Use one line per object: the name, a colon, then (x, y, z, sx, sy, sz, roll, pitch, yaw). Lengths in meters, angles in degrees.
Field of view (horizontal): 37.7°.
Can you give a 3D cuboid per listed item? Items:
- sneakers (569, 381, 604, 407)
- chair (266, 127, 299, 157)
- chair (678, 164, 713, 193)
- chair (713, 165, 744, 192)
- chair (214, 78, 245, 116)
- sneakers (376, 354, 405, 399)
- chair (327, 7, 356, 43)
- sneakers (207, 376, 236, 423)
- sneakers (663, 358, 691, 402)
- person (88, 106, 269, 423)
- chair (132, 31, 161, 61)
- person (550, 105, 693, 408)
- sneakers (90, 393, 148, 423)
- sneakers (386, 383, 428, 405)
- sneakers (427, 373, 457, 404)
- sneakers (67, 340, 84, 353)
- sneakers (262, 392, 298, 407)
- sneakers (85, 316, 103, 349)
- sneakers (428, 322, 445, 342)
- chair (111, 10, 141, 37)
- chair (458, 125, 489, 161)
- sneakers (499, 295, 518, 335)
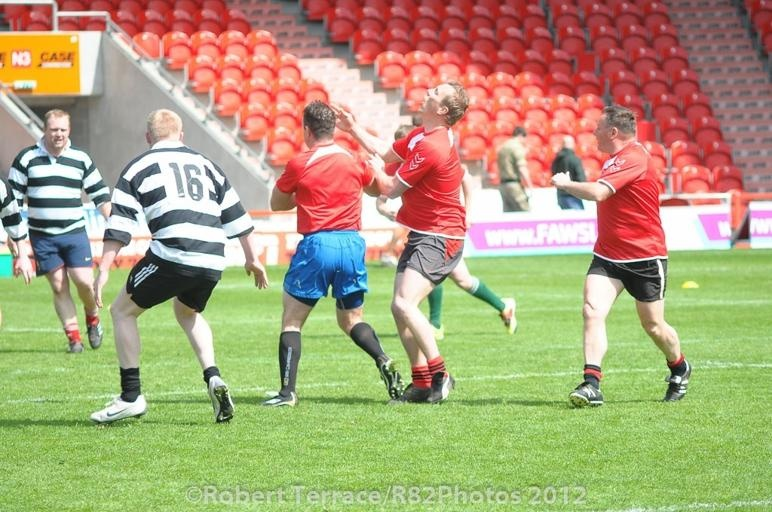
sneakers: (1.944, 1.380, 11.332, 0.411, 0.223, 0.169, 8, -14, -28)
chair: (-2.404, -2.599, 26.112, 0.622, 0.883, 0.718, 1, 1, -6)
chair: (7.400, -1.874, 27.231, 0.625, 0.859, 0.741, 3, 3, 8)
chair: (8.268, -1.895, 27.744, 0.626, 0.836, 0.703, 1, -14, 3)
chair: (-3.779, -3.758, 27.068, 0.640, 0.907, 0.850, 1, -2, -7)
sneakers: (0.046, 1.214, 11.668, 0.188, 0.513, 0.244, -31, 14, -21)
chair: (-1.222, -5.997, 29.551, 0.711, 0.889, 0.626, -1, 8, -3)
sneakers: (-1.605, 1.355, 11.056, 0.184, 0.516, 0.231, -7, 30, 14)
sneakers: (2.965, 1.304, 11.685, 0.171, 0.234, 0.546, -3, 23, 29)
person: (-2.083, 0.108, 11.042, 1.551, 3.008, 0.648, -2, 8, -10)
chair: (-5.753, -4.993, 27.132, 0.765, 0.679, 0.637, -2, 17, 0)
person: (2.394, -0.009, 11.487, 1.256, 2.962, 0.892, -7, 10, -38)
sneakers: (-2.578, 1.461, 11.028, 0.622, 0.298, 0.229, -5, -8, -6)
sneakers: (0.203, 1.424, 11.664, 0.458, 0.205, 0.158, 1, -5, -5)
sneakers: (0.563, 1.309, 11.679, 0.144, 0.190, 0.418, -3, 33, 29)
sneakers: (-3.822, 1.100, 13.916, 0.139, 0.140, 0.306, 1, 3, -15)
sneakers: (-1.091, 1.447, 11.597, 0.362, 0.168, 0.144, 2, -3, -2)
sneakers: (-3.635, 0.924, 14.122, 0.154, 0.472, 0.197, -8, 13, -8)
sneakers: (0.643, 0.949, 14.502, 0.175, 0.297, 0.297, -6, 27, 8)
chair: (-6.453, -5.795, 28.246, 0.859, 0.661, 0.635, 6, 11, 39)
chair: (2.053, -2.697, 26.964, 0.578, 0.791, 0.801, 1, -3, 0)
sneakers: (1.572, 0.775, 14.795, 0.221, 0.517, 0.177, -17, 16, -31)
